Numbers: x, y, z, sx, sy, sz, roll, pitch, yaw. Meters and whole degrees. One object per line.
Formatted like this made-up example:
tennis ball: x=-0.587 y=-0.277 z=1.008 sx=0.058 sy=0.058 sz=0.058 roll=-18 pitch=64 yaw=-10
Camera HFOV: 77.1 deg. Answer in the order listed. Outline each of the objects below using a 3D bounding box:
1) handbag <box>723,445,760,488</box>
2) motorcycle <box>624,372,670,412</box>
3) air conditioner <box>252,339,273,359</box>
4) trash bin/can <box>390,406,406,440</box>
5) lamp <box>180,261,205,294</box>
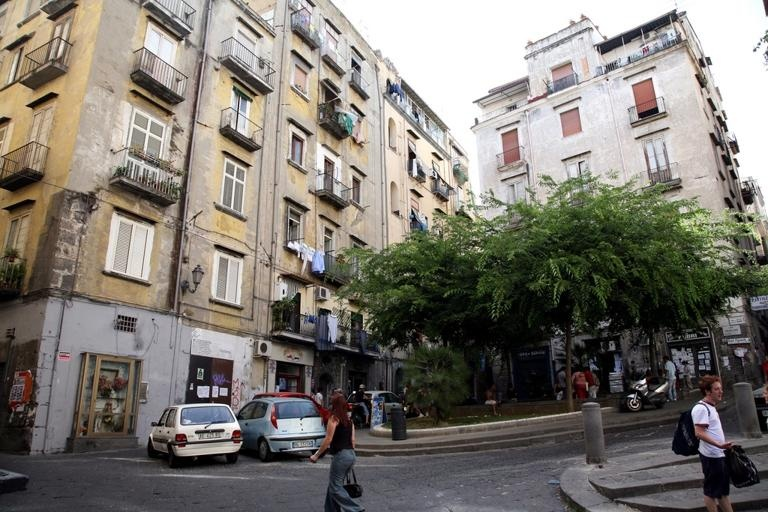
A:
handbag: x=6.112 y=3.618 z=8.351 sx=0.502 sy=0.671 sz=0.196 roll=-1 pitch=-17 yaw=-4
motorcycle: x=11.130 y=5.843 z=20.615 sx=2.289 sy=1.414 sz=0.878 roll=9 pitch=-20 yaw=-33
air conditioner: x=-6.321 y=4.787 z=24.799 sx=0.323 sy=0.826 sz=0.946 roll=-12 pitch=-23 yaw=27
trash bin/can: x=0.511 y=6.272 z=18.106 sx=0.508 sy=1.188 sz=0.415 roll=-3 pitch=-17 yaw=2
lamp: x=-8.825 y=1.044 z=22.556 sx=0.939 sy=1.480 sz=1.186 roll=-4 pitch=-17 yaw=4
